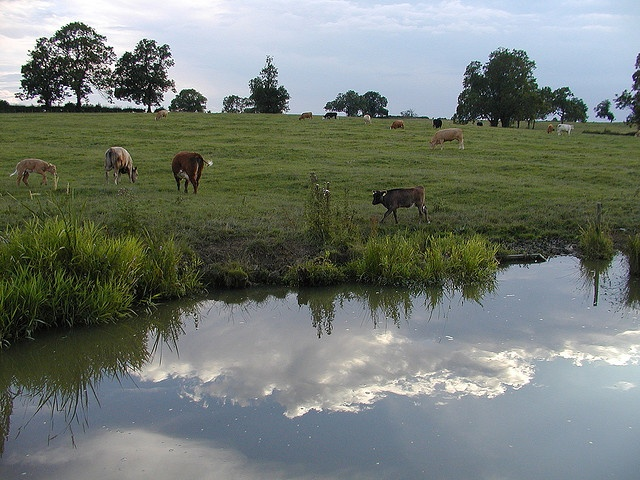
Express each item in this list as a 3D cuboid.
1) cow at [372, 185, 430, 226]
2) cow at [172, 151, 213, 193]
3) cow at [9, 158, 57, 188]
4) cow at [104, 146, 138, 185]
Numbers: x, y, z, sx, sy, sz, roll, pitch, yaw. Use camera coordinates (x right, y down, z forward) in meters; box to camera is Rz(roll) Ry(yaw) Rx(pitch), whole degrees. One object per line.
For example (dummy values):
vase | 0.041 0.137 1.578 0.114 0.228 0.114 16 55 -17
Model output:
cow | 2.603 -1.143 18.786 1.758 1.138 1.216 2 9 5
cow | -4.773 -2.483 21.635 1.085 1.398 2.181 -1 10 -14
cow | -10.421 -2.485 21.727 1.384 0.929 1.198 -6 12 -39
cow | -7.482 -2.816 22.313 0.982 1.289 1.252 7 11 31
